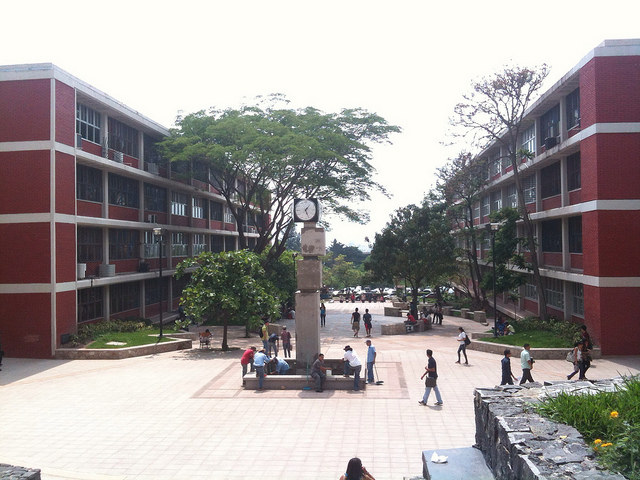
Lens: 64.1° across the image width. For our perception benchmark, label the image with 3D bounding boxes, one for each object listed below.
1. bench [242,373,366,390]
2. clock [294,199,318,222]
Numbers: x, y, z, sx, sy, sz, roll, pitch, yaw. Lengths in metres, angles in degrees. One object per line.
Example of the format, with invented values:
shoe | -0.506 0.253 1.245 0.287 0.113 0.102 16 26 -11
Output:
bench | -1.113 6.084 22.865 2.050 0.317 2.171 -1 -9 6
clock | -0.654 -1.440 23.828 0.950 0.971 0.389 1 -1 1
